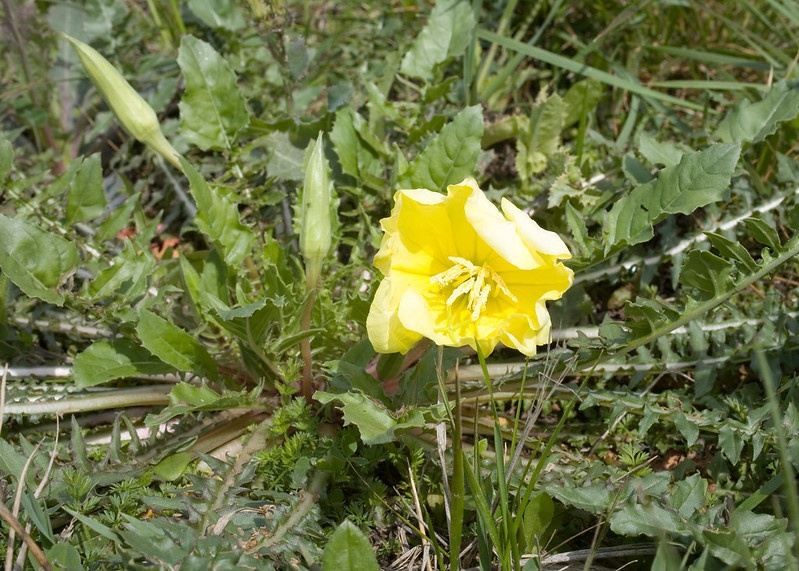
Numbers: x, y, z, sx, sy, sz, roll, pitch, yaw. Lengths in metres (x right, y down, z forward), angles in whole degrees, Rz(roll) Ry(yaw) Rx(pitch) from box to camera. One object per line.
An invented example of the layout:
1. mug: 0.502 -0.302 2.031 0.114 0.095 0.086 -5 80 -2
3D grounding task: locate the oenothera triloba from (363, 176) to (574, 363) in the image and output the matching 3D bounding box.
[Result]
1. oenothera triloba: 0.198 -0.053 2.550 0.582 0.372 0.632 23 93 -5
